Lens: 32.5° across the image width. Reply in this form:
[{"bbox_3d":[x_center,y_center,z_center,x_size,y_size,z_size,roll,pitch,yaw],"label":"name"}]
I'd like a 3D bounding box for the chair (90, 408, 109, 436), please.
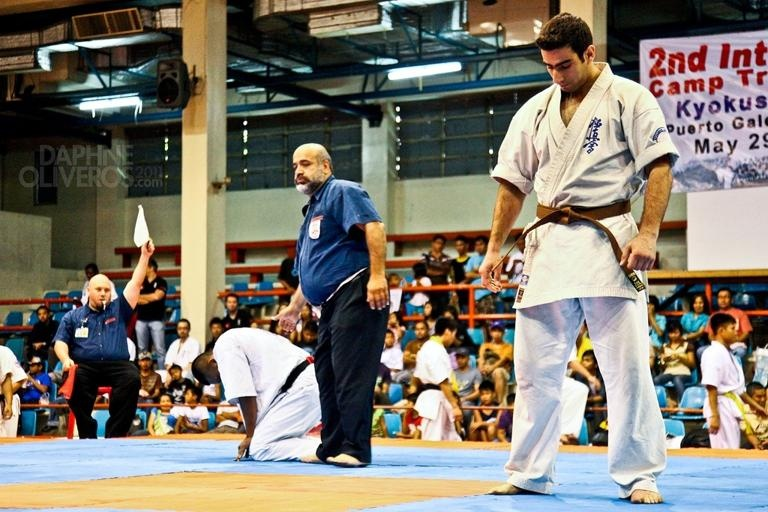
[{"bbox_3d":[-4.330,2.480,19.948,0.223,0.409,0.592,1,-3,-12],"label":"chair"}]

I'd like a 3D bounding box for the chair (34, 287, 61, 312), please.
[{"bbox_3d":[-7.017,0.891,27.281,0.397,0.675,0.417,1,-8,-7],"label":"chair"}]

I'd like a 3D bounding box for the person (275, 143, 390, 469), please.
[{"bbox_3d":[-0.504,0.525,14.924,1.082,3.614,0.417,0,-3,3],"label":"person"}]

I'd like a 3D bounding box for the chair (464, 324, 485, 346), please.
[{"bbox_3d":[1.433,1.243,20.974,0.346,0.342,0.251,0,-8,-5],"label":"chair"}]

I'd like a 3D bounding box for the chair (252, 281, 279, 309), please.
[{"bbox_3d":[-2.592,0.768,28.374,0.596,0.593,0.573,1,-9,-6],"label":"chair"}]

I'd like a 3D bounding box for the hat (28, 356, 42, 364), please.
[{"bbox_3d":[-5.807,1.708,21.773,0.110,0.156,0.153,-4,18,7],"label":"hat"}]

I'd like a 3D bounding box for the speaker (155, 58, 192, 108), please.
[{"bbox_3d":[-3.661,-2.957,22.709,0.475,0.801,0.470,0,0,10],"label":"speaker"}]

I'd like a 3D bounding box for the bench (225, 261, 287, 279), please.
[{"bbox_3d":[-2.910,0.289,30.678,1.986,0.282,0.399,-2,-7,36],"label":"bench"}]

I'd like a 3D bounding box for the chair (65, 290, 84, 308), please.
[{"bbox_3d":[-6.050,0.819,25.591,0.316,0.419,0.343,-2,-13,5],"label":"chair"}]

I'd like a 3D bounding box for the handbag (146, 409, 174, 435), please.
[{"bbox_3d":[-3.341,2.453,19.611,0.212,0.229,0.158,29,-46,-26],"label":"handbag"}]

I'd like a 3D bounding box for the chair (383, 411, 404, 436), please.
[{"bbox_3d":[0.113,2.416,19.110,0.217,0.340,0.335,0,-6,5],"label":"chair"}]
